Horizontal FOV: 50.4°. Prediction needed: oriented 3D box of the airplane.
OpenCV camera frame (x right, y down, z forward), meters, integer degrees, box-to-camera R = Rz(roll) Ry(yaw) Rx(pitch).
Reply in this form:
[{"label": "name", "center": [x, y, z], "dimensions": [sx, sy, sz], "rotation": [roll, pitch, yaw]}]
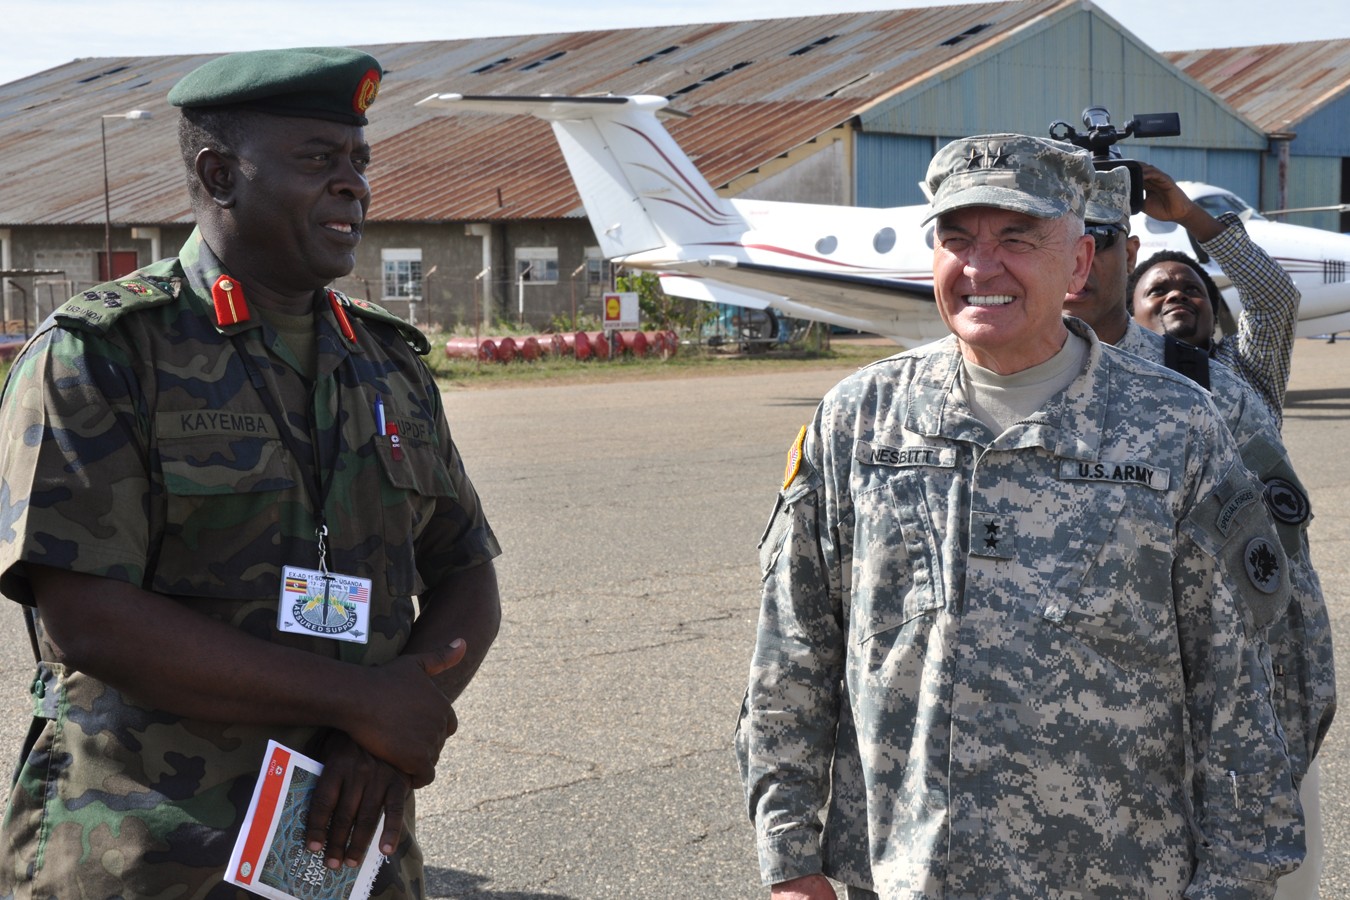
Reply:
[{"label": "airplane", "center": [1.315, -3.313, 20.862], "dimensions": [7.314, 2.051, 7.553], "rotation": [13, 20, 39]}]
